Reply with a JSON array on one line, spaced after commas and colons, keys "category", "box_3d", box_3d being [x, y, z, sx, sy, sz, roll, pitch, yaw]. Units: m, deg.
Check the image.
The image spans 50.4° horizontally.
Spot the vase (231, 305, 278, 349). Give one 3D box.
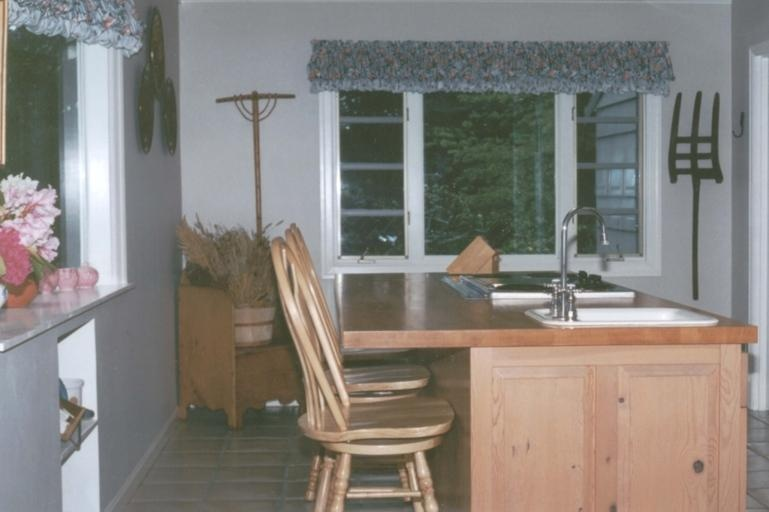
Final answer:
[{"category": "vase", "box_3d": [-0.846, 0.462, 5.219, 0.248, 0.164, 0.238, -1, -4, -2]}]

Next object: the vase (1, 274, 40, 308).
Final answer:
[{"category": "vase", "box_3d": [-1.652, 0.166, 3.707, 0.124, 0.094, 0.131, 4, 11, 12]}]

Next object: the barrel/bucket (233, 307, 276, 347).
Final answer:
[{"category": "barrel/bucket", "box_3d": [-0.834, 0.460, 5.218, 0.250, 0.165, 0.234, -1, -2, 0]}]

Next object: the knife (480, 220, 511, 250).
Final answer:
[{"category": "knife", "box_3d": [0.837, -0.138, 6.017, 0.216, 0.202, 0.050, 31, 2, 5]}]
